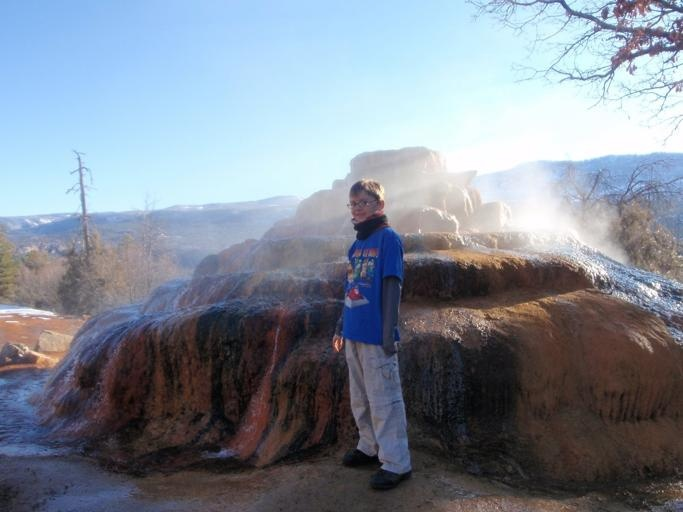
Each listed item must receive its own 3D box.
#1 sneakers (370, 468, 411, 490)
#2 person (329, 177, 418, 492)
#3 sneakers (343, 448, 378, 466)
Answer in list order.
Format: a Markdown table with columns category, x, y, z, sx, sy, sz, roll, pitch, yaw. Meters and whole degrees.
| category | x | y | z | sx | sy | sz | roll | pitch | yaw |
| --- | --- | --- | --- | --- | --- | --- | --- | --- | --- |
| sneakers | 0.582 | 2.632 | 6.276 | 0.397 | 0.228 | 0.194 | 5 | -22 | -15 |
| person | 0.366 | 0.903 | 6.631 | 0.969 | 3.114 | 0.618 | -7 | -3 | 17 |
| sneakers | 0.228 | 2.574 | 6.845 | 0.435 | 0.235 | 0.186 | 2 | 4 | -14 |
